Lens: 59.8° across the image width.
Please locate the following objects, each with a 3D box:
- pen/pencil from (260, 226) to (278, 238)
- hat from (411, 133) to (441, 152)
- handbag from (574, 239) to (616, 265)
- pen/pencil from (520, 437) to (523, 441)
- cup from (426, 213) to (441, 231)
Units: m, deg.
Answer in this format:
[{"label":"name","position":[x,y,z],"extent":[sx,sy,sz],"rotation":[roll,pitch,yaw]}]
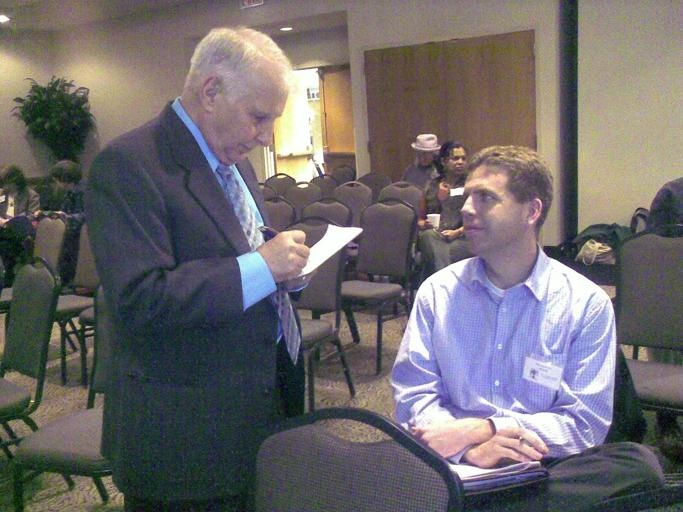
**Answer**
[{"label":"pen/pencil","position":[-0.219,-0.071,1.816],"extent":[0.015,0.030,0.055],"rotation":[-3,18,-36]},{"label":"hat","position":[0.969,-1.288,6.649],"extent":[0.295,0.150,0.370],"rotation":[1,-2,1]},{"label":"handbag","position":[2.346,-0.030,5.429],"extent":[0.345,0.229,0.189],"rotation":[8,11,34]},{"label":"pen/pencil","position":[0.512,0.515,1.668],"extent":[0.008,0.014,0.009],"rotation":[1,-9,-12]},{"label":"cup","position":[0.756,-0.278,4.783],"extent":[0.113,0.130,0.116],"rotation":[-6,2,0]}]
